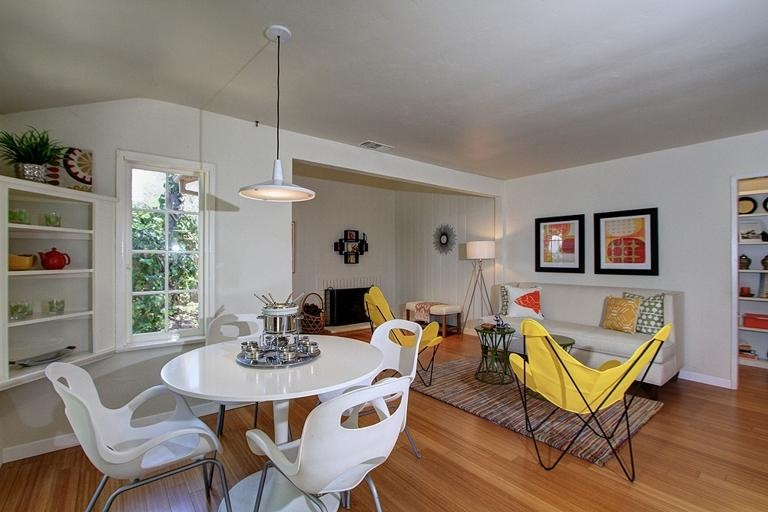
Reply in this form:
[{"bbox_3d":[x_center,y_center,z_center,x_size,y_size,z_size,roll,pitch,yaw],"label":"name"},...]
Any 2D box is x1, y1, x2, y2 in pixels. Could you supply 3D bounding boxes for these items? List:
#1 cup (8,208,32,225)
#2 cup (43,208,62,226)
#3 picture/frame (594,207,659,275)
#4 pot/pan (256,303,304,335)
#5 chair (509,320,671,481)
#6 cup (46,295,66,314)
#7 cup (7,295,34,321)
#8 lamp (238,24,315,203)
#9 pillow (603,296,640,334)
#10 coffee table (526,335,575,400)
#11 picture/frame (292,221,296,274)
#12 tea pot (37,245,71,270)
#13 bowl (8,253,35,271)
[{"bbox_3d":[-3.064,-0.324,4.153,0.145,0.104,0.146,1,-4,0],"label":"cup"},{"bbox_3d":[-2.943,-0.356,4.378,0.163,0.173,0.151,1,9,0],"label":"cup"},{"bbox_3d":[3.183,-0.198,6.405,0.112,1.067,0.834,-1,3,-40],"label":"picture/frame"},{"bbox_3d":[-0.885,0.522,4.136,0.343,0.165,0.243,3,-5,-40],"label":"pot/pan"},{"bbox_3d":[1.808,1.210,4.604,1.191,1.328,1.015,-1,0,0],"label":"chair"},{"bbox_3d":[-2.932,0.427,4.392,0.142,0.107,0.127,4,2,44],"label":"cup"},{"bbox_3d":[-3.104,0.451,4.196,0.181,0.132,0.158,6,-2,-5],"label":"cup"},{"bbox_3d":[-0.989,-1.149,4.540,0.606,1.332,1.271,-1,0,-10],"label":"lamp"},{"bbox_3d":[2.885,0.707,5.994,0.115,0.385,0.383,13,2,-24],"label":"pillow"},{"bbox_3d":[1.896,1.177,5.619,0.635,0.703,0.647,0,12,6],"label":"coffee table"},{"bbox_3d":[-1.499,-0.153,8.201,0.041,0.859,0.100,0,1,8],"label":"picture/frame"},{"bbox_3d":[-2.939,0.017,4.384,0.243,0.195,0.227,-1,0,0],"label":"tea pot"},{"bbox_3d":[-3.083,0.049,4.189,0.116,0.122,0.214,0,0,40],"label":"bowl"}]
